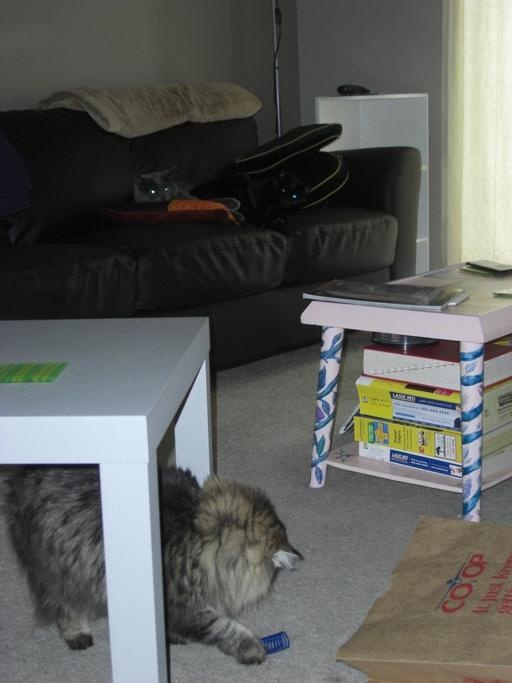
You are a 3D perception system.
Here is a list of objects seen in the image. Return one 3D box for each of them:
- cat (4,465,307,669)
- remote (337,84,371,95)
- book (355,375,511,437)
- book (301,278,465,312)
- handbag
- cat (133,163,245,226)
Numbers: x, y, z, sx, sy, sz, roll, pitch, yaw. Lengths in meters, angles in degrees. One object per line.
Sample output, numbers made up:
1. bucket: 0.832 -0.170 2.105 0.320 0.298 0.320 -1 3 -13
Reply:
1. cat: -0.128 0.300 0.854 0.409 0.202 0.195 6 25 -7
2. remote: 0.511 -1.347 3.237 0.178 0.067 0.098 -5 24 -9
3. book: 0.297 0.113 1.152 0.164 0.041 0.151 7 10 25
4. book: 0.238 -0.085 1.101 0.194 0.019 0.112 7 20 23
5. handbag: 0.134 -0.662 2.325 0.426 0.132 0.312 -19 38 -5
6. cat: -0.264 -0.557 2.244 0.407 0.167 0.254 1 60 4
